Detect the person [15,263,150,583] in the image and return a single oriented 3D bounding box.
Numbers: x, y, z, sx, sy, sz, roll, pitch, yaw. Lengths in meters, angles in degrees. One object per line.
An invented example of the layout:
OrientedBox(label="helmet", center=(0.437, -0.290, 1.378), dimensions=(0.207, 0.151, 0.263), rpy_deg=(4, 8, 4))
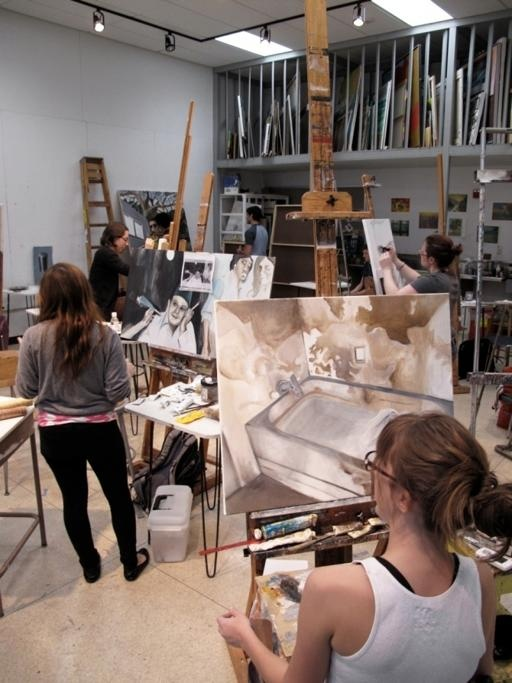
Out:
OrientedBox(label="person", center=(-0.709, 0.396, 2.095), dimensions=(0.405, 1.391, 0.223), rpy_deg=(-6, 13, -25))

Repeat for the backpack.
OrientedBox(label="backpack", center=(-0.491, 0.699, 2.906), dimensions=(0.313, 0.453, 0.165), rpy_deg=(7, -25, 44))

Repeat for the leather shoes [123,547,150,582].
OrientedBox(label="leather shoes", center=(-0.542, 1.015, 2.375), dimensions=(0.049, 0.041, 0.139), rpy_deg=(3, 20, 6))

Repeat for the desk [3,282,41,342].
OrientedBox(label="desk", center=(-2.241, -0.299, 4.938), dimensions=(0.383, 0.495, 0.508), rpy_deg=(-13, 24, -43))

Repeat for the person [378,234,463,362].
OrientedBox(label="person", center=(1.170, -0.216, 3.660), dimensions=(0.504, 1.221, 0.443), rpy_deg=(-14, 40, 8))

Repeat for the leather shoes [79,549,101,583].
OrientedBox(label="leather shoes", center=(-0.734, 1.005, 2.319), dimensions=(0.052, 0.060, 0.144), rpy_deg=(-1, 4, -8))

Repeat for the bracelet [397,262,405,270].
OrientedBox(label="bracelet", center=(0.982, -0.511, 3.537), dimensions=(0.035, 0.047, 0.047), rpy_deg=(-4, -17, -36))

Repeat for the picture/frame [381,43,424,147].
OrientedBox(label="picture/frame", center=(1.705, -2.795, 6.034), dimensions=(0.362, 1.100, 0.525), rpy_deg=(-12, 17, -44))

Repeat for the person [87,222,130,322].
OrientedBox(label="person", center=(-1.316, -0.521, 4.852), dimensions=(0.435, 1.107, 0.382), rpy_deg=(3, 28, -18))

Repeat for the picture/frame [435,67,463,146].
OrientedBox(label="picture/frame", center=(2.143, -2.555, 5.783), dimensions=(0.307, 0.798, 0.380), rpy_deg=(4, 13, 19))
